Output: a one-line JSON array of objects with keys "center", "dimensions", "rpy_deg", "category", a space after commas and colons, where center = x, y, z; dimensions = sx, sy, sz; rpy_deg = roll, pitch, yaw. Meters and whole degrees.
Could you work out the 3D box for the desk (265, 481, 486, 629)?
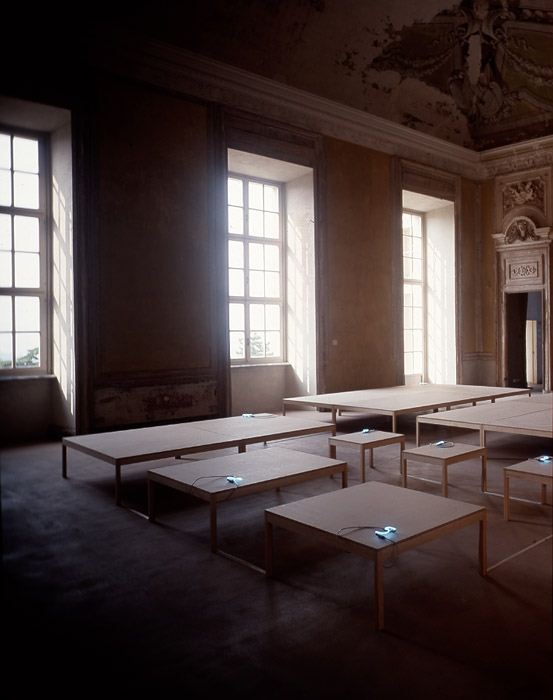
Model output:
[{"center": [0.415, 0.801, 2.492], "dimensions": [0.566, 0.294, 0.585], "rpy_deg": [-6, 3, -39], "category": "desk"}]
